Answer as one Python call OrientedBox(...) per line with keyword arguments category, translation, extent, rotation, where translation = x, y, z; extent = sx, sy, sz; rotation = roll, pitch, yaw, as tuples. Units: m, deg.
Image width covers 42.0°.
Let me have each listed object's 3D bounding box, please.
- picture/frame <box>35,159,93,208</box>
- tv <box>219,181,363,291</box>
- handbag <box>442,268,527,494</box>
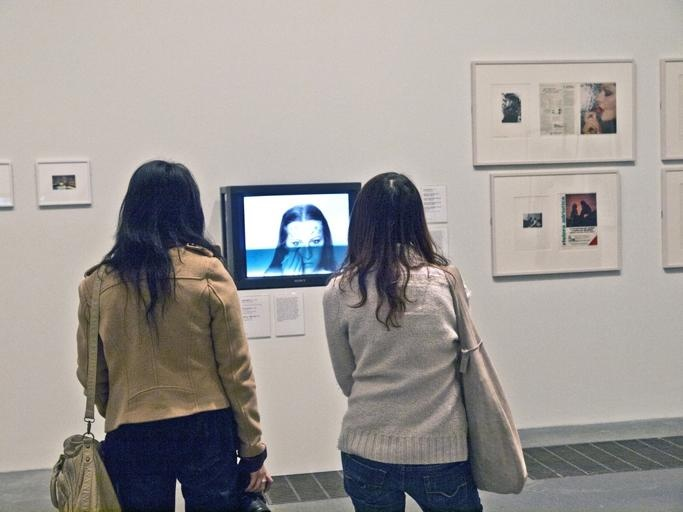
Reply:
OrientedBox(category="picture/frame", translation=(-2.061, -0.532, 6.506), extent=(0.340, 0.297, 0.035), rotation=(-1, -1, -6))
OrientedBox(category="tv", translation=(-0.381, -0.176, 6.838), extent=(1.336, 0.959, 0.707), rotation=(-1, -1, -9))
OrientedBox(category="handbag", translation=(0.746, 0.630, 4.622), extent=(0.372, 1.178, 0.165), rotation=(-3, 2, 12))
